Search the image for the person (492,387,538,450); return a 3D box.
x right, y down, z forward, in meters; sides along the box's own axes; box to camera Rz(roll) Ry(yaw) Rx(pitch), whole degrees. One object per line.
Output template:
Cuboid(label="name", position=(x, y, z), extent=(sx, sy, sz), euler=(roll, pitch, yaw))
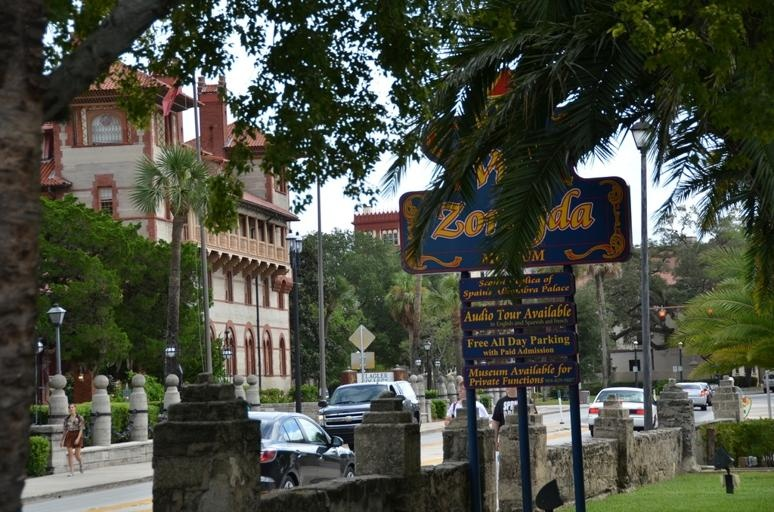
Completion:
Cuboid(label="person", position=(2.667, 3.475, 25.950), extent=(0.942, 1.235, 0.410), euler=(-3, -9, 13))

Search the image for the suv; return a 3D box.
Cuboid(label="suv", position=(-0.760, 4.651, 36.163), extent=(1.888, 1.685, 3.821), euler=(-4, -12, 15))
